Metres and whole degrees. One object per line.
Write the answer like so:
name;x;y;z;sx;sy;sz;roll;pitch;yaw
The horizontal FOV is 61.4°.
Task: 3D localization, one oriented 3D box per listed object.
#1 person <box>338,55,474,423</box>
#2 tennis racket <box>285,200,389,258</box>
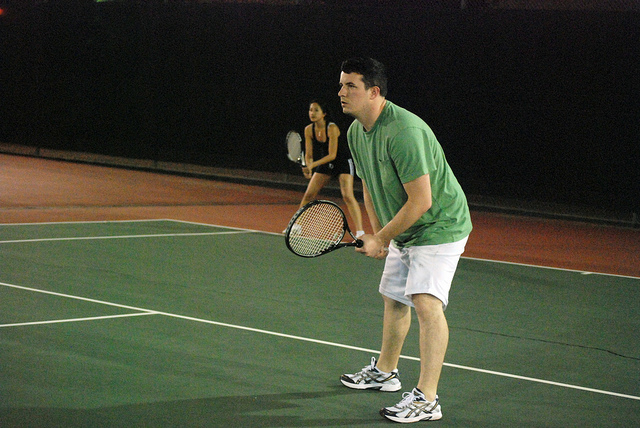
person;0.528;0.161;3.670;0.837;2.378;0.635;7;11;23
tennis racket;0.160;0.146;4.818;0.911;0.367;0.068;21;8;-12
